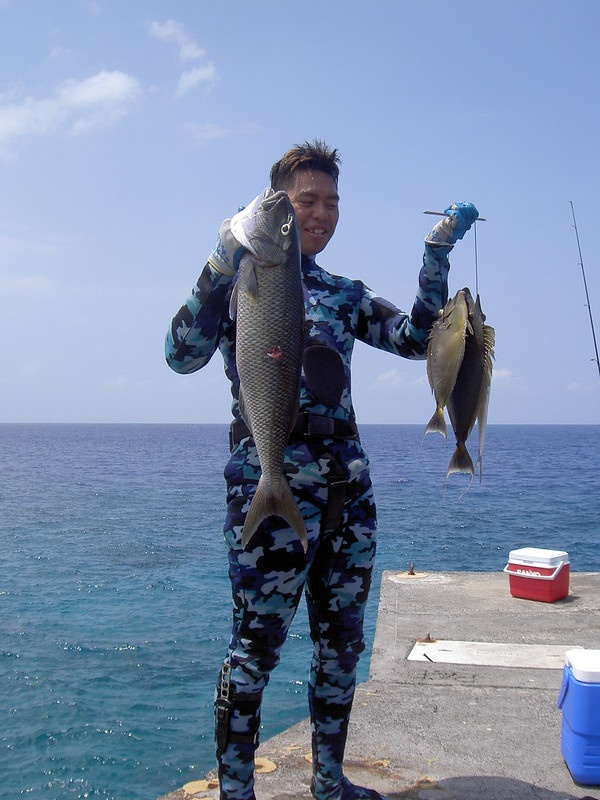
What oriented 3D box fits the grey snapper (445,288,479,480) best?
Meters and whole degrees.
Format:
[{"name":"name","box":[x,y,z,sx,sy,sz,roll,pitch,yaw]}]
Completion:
[{"name":"grey snapper","box":[0.813,-0.088,4.110,0.216,0.957,0.419,5,-23,1]}]

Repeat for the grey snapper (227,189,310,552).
[{"name":"grey snapper","box":[-0.142,-0.125,3.714,0.331,1.590,0.321,0,-1,3]}]

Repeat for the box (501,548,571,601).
[{"name":"box","box":[3.515,2.594,11.971,0.679,0.650,0.922,1,-5,-25]}]
